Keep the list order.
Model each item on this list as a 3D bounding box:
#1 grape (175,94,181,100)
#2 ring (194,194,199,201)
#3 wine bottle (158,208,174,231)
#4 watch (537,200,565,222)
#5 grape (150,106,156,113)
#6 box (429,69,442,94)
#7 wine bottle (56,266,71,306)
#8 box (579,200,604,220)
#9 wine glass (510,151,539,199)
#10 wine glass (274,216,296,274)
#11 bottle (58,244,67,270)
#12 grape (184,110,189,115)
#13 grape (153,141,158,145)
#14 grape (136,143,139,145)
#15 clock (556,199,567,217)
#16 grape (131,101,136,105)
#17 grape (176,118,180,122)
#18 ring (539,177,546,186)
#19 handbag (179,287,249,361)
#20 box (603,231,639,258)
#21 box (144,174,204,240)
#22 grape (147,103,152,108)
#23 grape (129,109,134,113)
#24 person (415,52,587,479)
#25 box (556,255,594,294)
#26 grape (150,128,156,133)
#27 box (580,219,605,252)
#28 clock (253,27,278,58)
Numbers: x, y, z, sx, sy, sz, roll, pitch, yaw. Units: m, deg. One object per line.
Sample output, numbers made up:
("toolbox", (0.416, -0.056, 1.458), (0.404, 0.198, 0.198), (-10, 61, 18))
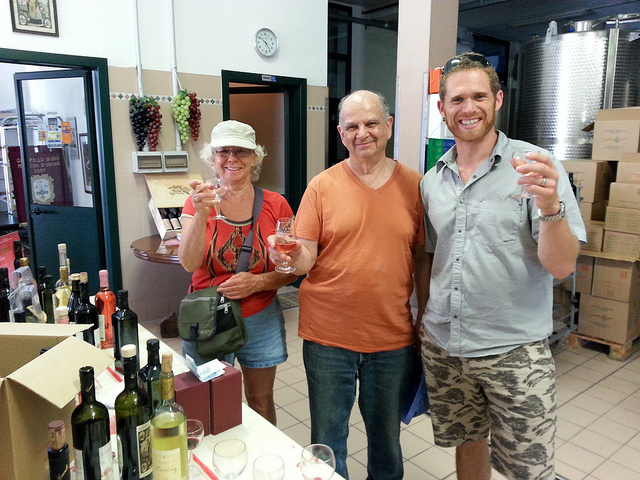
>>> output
("grape", (-1.441, -1.429, 4.823), (0.042, 0.050, 0.043), (6, 5, 29))
("ring", (-0.581, -0.195, 2.221), (0.019, 0.030, 0.009), (6, 18, 31))
("wine bottle", (-1.532, -0.197, 4.711), (0.062, 0.058, 0.249), (-18, 54, -28))
("watch", (0.876, -0.108, 1.794), (0.089, 0.072, 0.076), (3, 17, 24))
("grape", (-1.620, -1.253, 4.624), (0.056, 0.047, 0.024), (-15, 19, -34))
("box", (0.879, -1.187, 3.607), (0.075, 0.181, 0.335), (-2, 16, 10))
("wine bottle", (-1.266, 0.251, 2.369), (0.086, 0.197, 0.084), (2, 6, 0))
("box", (2.379, -0.264, 4.175), (0.238, 0.160, 0.124), (-7, 8, -38))
("wine glass", (0.796, -0.249, 1.865), (0.101, 0.214, 0.441), (2, 17, 22))
("wine glass", (-0.155, 0.042, 2.166), (0.103, 0.274, 0.167), (-6, 16, -6))
("bottle", (-1.266, 0.072, 2.346), (0.028, 0.116, 0.145), (-12, 17, -24))
("grape", (-1.364, -1.290, 4.866), (0.016, 0.043, 0.049), (8, 20, 37))
("grape", (-1.643, -0.955, 4.741), (0.049, 0.028, 0.059), (-1, -8, -5))
("grape", (-1.797, -0.937, 4.691), (0.021, 0.015, 0.020), (-1, 11, -18))
("clock", (0.906, -0.117, 1.784), (0.025, 0.060, 0.055), (-11, 17, 41))
("grape", (-1.794, -1.304, 4.580), (0.044, 0.030, 0.009), (-2, 16, 6))
("grape", (-1.446, -1.211, 4.864), (0.022, 0.038, 0.007), (-1, 16, 11))
("ring", (0.789, -0.204, 1.683), (0.006, 0.021, 0.021), (12, -12, 2))
("handbag", (-0.557, 0.359, 2.436), (0.324, 0.433, 0.266), (-10, -3, 31))
("box", (2.622, 0.033, 4.131), (0.212, 0.132, 0.216), (7, 9, 35))
("box", (-1.471, -0.365, 4.803), (0.463, 0.581, 0.509), (-11, 17, -22))
("grape", (-1.651, -1.290, 4.617), (0.038, 0.042, 0.037), (-9, 16, -16))
("grape", (-1.830, -1.229, 4.607), (0.033, 0.038, 0.033), (22, 50, -17))
("person", (0.738, 0.220, 2.132), (0.438, 2.013, 0.719), (-17, 20, -38))
("box", (2.358, 0.357, 4.575), (0.203, 0.357, 0.370), (15, -9, -33))
("grape", (-1.640, -1.061, 4.667), (0.055, 0.042, 0.021), (-9, 16, -17))
("box", (2.470, -0.043, 4.288), (0.171, 0.268, 0.156), (5, 18, 29))
("clock", (-0.631, -2.209, 5.370), (0.048, 0.336, 0.360), (1, 11, 41))
